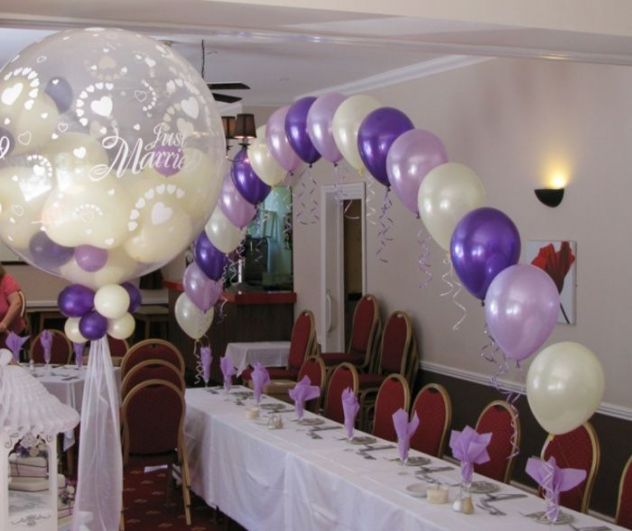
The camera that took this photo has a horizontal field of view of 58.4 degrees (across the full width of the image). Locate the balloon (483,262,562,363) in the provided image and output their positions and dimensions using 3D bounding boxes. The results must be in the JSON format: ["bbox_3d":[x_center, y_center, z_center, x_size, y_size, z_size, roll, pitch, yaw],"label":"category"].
[{"bbox_3d":[1.045,0.247,3.180,0.382,0.686,0.445,3,-1,-1],"label":"balloon"}]

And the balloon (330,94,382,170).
[{"bbox_3d":[0.378,-1.026,4.758,0.367,0.484,0.388,23,34,29],"label":"balloon"}]

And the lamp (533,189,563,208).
[{"bbox_3d":[2.063,-0.599,5.044,0.076,0.162,0.299,3,0,-25],"label":"lamp"}]

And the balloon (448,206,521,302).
[{"bbox_3d":[1.007,-0.066,3.456,0.346,0.599,0.417,5,-16,1],"label":"balloon"}]

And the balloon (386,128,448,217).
[{"bbox_3d":[0.733,-0.705,4.193,0.398,0.670,0.448,1,7,24],"label":"balloon"}]

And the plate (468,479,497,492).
[{"bbox_3d":[0.931,1.234,3.139,0.151,0.020,0.202,5,-1,21],"label":"plate"}]

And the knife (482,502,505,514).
[{"bbox_3d":[0.884,1.235,2.864,0.029,0.008,0.121,-1,3,-12],"label":"knife"}]

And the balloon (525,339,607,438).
[{"bbox_3d":[1.226,0.624,2.806,0.344,0.429,0.217,3,0,32],"label":"balloon"}]

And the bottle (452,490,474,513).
[{"bbox_3d":[0.742,1.201,2.889,0.074,0.118,0.108,6,-9,-43],"label":"bottle"}]

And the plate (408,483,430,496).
[{"bbox_3d":[0.547,1.217,3.073,0.106,0.026,0.180,5,-1,11],"label":"plate"}]

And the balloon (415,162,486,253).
[{"bbox_3d":[0.812,-0.446,3.796,0.441,0.332,0.321,-35,9,29],"label":"balloon"}]
